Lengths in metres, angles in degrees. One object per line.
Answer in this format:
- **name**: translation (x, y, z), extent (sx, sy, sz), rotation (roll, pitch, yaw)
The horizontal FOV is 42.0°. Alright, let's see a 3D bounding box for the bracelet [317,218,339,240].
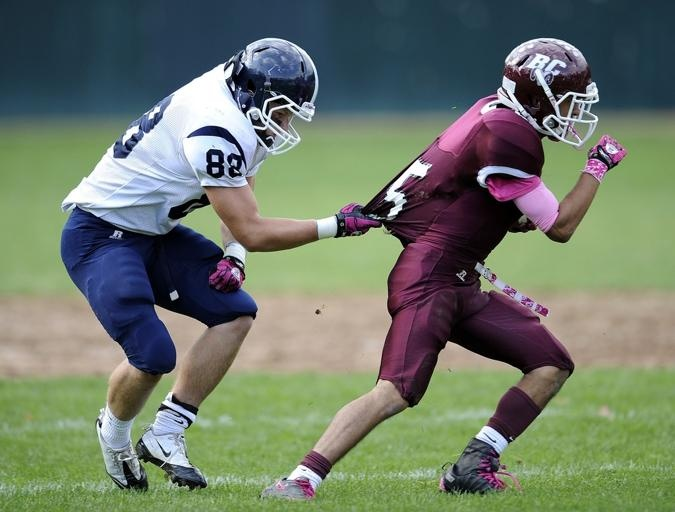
- **bracelet**: translation (-0.058, -0.167, 5.346), extent (0.133, 0.105, 0.106), rotation (-7, 9, 11)

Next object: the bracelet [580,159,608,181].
- **bracelet**: translation (1.557, -0.535, 5.360), extent (0.147, 0.143, 0.146), rotation (11, 10, 14)

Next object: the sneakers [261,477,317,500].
- **sneakers**: translation (-0.260, 1.298, 4.912), extent (0.299, 0.134, 0.119), rotation (4, -13, 5)

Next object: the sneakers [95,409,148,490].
- **sneakers**: translation (-1.283, 1.241, 5.407), extent (0.220, 0.579, 0.220), rotation (-29, 5, -16)

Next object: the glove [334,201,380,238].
- **glove**: translation (0.115, -0.228, 5.344), extent (0.242, 0.097, 0.189), rotation (-10, 31, -13)

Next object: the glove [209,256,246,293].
- **glove**: translation (-0.676, 0.103, 5.437), extent (0.181, 0.214, 0.105), rotation (35, 40, -16)

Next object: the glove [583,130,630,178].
- **glove**: translation (1.619, -0.589, 5.409), extent (0.208, 0.127, 0.321), rotation (38, 60, 8)
